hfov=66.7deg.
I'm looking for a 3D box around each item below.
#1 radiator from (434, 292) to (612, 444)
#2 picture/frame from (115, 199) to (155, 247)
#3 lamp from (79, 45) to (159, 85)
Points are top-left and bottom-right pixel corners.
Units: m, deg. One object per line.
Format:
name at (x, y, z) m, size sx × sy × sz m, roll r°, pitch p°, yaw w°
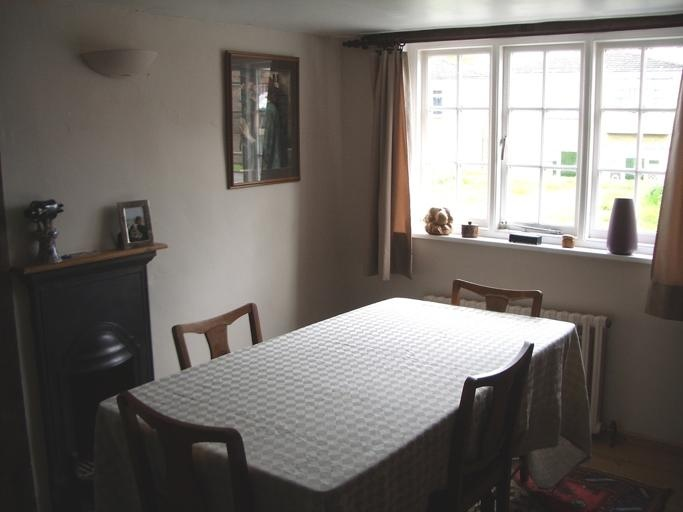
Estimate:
radiator at (1.430, 0.859, 3.560) m, size 0.076 × 0.720 × 0.972 m, roll 31°, pitch -33°, yaw -16°
picture/frame at (-1.166, -0.177, 2.901) m, size 0.019 × 0.286 × 0.236 m, roll -6°, pitch 4°, yaw 36°
lamp at (-1.168, -1.027, 2.736) m, size 0.194 × 0.171 × 0.343 m, roll 5°, pitch 12°, yaw 33°
